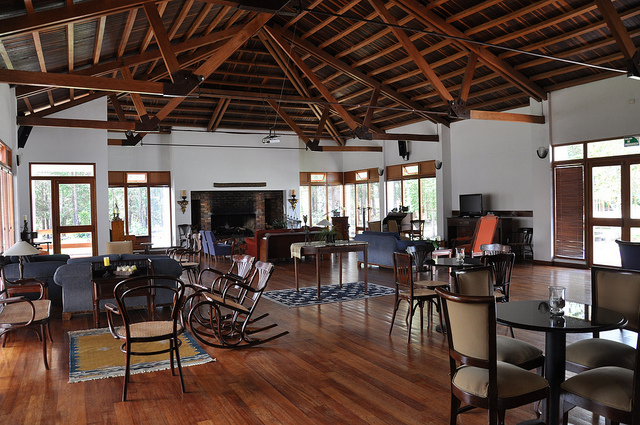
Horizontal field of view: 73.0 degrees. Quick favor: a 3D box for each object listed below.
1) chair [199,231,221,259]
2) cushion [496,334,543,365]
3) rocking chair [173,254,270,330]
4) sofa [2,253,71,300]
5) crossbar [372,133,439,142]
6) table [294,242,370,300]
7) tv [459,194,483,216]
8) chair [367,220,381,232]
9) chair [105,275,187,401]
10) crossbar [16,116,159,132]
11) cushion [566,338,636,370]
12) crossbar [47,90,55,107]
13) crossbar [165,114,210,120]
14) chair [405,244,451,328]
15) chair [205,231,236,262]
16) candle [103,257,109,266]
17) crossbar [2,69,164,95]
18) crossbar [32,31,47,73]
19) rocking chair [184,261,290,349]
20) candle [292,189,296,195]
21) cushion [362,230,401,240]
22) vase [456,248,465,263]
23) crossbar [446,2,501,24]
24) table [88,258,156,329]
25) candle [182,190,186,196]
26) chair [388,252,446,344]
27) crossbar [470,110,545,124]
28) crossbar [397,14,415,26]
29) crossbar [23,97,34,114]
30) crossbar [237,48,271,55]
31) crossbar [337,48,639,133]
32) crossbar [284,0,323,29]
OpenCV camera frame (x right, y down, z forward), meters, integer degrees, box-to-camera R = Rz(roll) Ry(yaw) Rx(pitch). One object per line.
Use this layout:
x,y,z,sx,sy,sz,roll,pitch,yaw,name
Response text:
-3.441,0.997,13.900,0.710,1.085,0.824,-1,2,-23,chair
2.002,1.409,4.418,0.327,0.076,0.326,-4,8,-26,cushion
-1.263,1.251,6.394,1.551,1.071,1.166,6,1,-10,rocking chair
-5.129,1.094,7.849,1.000,0.616,1.043,-1,3,-27,sofa
2.871,-2.550,14.682,2.355,0.283,0.458,-1,1,-14,crossbar
0.214,1.181,9.278,1.594,1.024,1.032,-1,-1,-32,table
4.763,-0.248,13.530,0.221,0.510,0.721,1,-1,-37,tv
1.876,0.451,14.779,0.341,0.531,0.367,2,6,17,chair
-2.059,1.458,5.327,0.979,1.427,0.919,-1,0,-34,chair
-6.324,-2.344,11.251,2.614,0.287,0.417,-1,1,-32,crossbar
2.845,1.423,4.390,0.359,0.081,0.340,-2,1,-32,cushion
-7.001,-2.978,11.198,0.115,0.074,0.471,-16,-24,-14,crossbar
-4.906,-3.560,16.089,1.500,0.126,0.326,-1,1,-25,crossbar
1.682,1.118,6.799,0.620,0.982,0.589,-4,18,-14,chair
-3.063,1.055,13.907,0.754,0.809,1.678,1,-2,-6,chair
-3.442,0.785,6.958,0.064,0.131,0.112,-2,1,-28,candle
-4.193,-2.346,7.723,2.407,0.336,0.374,-1,1,-27,crossbar
-5.264,-3.043,8.093,0.136,0.067,0.901,-8,-27,-15,crossbar
-1.178,1.331,6.377,1.290,1.180,1.333,-1,1,-5,rocking chair
-1.085,-0.853,17.482,0.090,0.210,0.215,-1,1,-8,candle
1.611,0.523,10.859,0.747,0.254,0.244,3,11,38,cushion
2.147,0.648,6.632,0.114,0.224,0.254,-1,1,16,vase
3.390,-4.537,9.745,0.254,0.119,1.212,-2,1,-39,crossbar
-3.238,1.300,7.153,1.055,0.917,0.728,0,0,-27,table
-5.061,-0.748,16.056,0.108,0.216,0.198,-2,1,-15,candle
1.434,1.231,6.540,0.732,1.174,0.652,2,-1,-11,chair
4.837,-2.498,11.242,2.509,0.252,0.241,-1,1,-22,crossbar
2.132,-4.743,10.541,0.254,0.165,0.532,-2,1,-29,crossbar
-7.451,-2.757,11.009,0.081,0.040,0.570,0,-27,-13,crossbar
-2.021,-4.987,13.299,1.081,0.132,0.178,-1,1,-30,crossbar
4.350,-3.487,13.111,0.499,0.211,8.561,-2,1,-34,crossbar
-0.524,-5.354,11.740,0.360,0.285,2.006,-2,1,-29,crossbar
